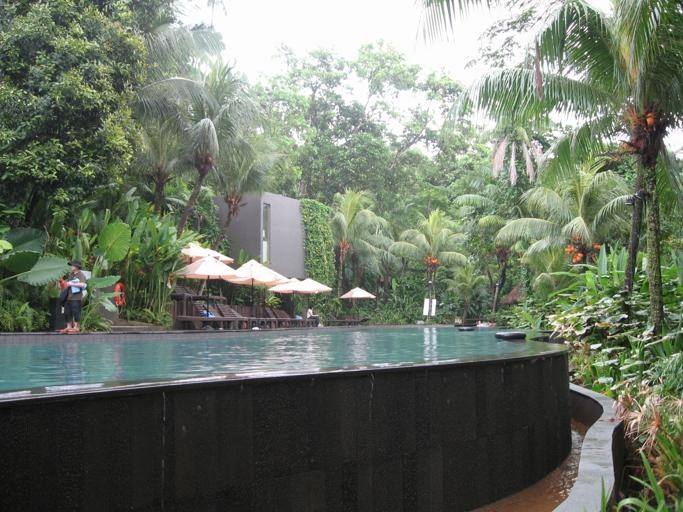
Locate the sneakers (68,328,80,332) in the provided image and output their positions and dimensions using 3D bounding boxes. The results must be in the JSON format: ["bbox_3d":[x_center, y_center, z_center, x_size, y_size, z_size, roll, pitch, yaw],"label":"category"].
[{"bbox_3d":[-5.761,1.597,11.319,0.084,0.116,0.246,-2,-7,-16],"label":"sneakers"}]

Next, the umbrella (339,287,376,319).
[{"bbox_3d":[1.052,2.409,29.032,1.362,1.179,1.455,5,-6,-31],"label":"umbrella"}]

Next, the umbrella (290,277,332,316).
[{"bbox_3d":[-1.523,1.955,23.494,1.538,1.274,1.687,4,3,14],"label":"umbrella"}]

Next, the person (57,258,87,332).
[{"bbox_3d":[-5.877,0.866,11.544,0.508,1.534,0.895,4,-3,-29],"label":"person"}]

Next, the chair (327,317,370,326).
[{"bbox_3d":[0.069,3.492,27.716,1.877,0.363,0.169,4,-11,-25],"label":"chair"}]

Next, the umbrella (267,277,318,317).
[{"bbox_3d":[-2.407,1.969,25.016,1.817,1.486,1.889,0,-4,17],"label":"umbrella"}]

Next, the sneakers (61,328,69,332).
[{"bbox_3d":[-6.085,1.620,11.559,0.142,0.057,0.143,-4,7,-33],"label":"sneakers"}]

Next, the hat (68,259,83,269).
[{"bbox_3d":[-5.854,0.178,11.593,0.268,0.134,0.194,33,-14,-29],"label":"hat"}]

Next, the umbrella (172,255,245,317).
[{"bbox_3d":[-4.472,0.918,17.193,1.552,1.534,1.650,-2,-2,34],"label":"umbrella"}]
